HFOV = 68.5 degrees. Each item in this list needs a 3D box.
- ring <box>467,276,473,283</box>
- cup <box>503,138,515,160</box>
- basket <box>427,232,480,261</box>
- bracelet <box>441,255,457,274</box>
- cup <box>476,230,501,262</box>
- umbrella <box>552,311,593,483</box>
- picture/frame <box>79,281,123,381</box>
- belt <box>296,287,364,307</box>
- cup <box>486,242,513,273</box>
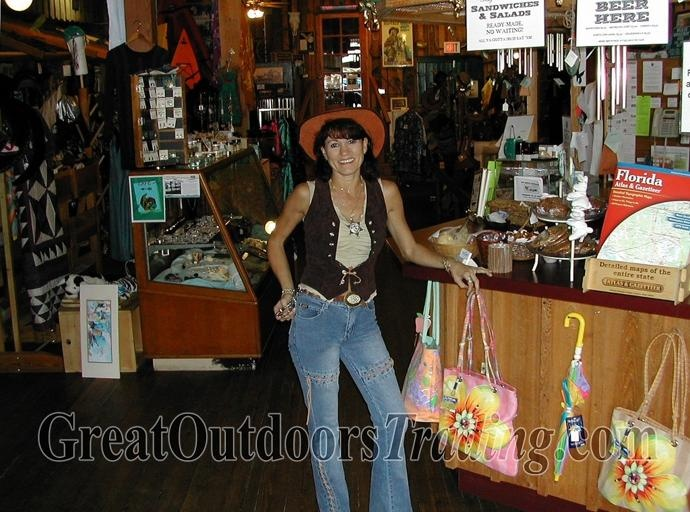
[{"bbox_3d":[0.625,0.127,2.554,0.018,0.028,0.026,-1,-1,1],"label":"ring"},{"bbox_3d":[1.602,-1.029,4.970,0.106,0.170,0.421,4,17,17],"label":"cup"},{"bbox_3d":[0.590,-0.056,2.787,0.153,0.068,0.170,6,17,27],"label":"basket"},{"bbox_3d":[0.522,0.053,2.633,0.028,0.079,0.052,-1,2,-38],"label":"bracelet"},{"bbox_3d":[0.740,-0.048,2.725,0.127,0.169,0.146,0,16,-3],"label":"cup"},{"bbox_3d":[1.090,0.690,2.459,0.166,0.812,0.103,1,-9,35],"label":"umbrella"},{"bbox_3d":[-2.075,0.640,4.292,0.372,0.725,0.216,1,13,6],"label":"picture/frame"},{"bbox_3d":[-0.069,0.204,2.480,0.315,0.078,0.068,2,15,6],"label":"belt"},{"bbox_3d":[0.781,0.000,2.629,0.124,0.158,0.128,0,6,0],"label":"cup"}]
